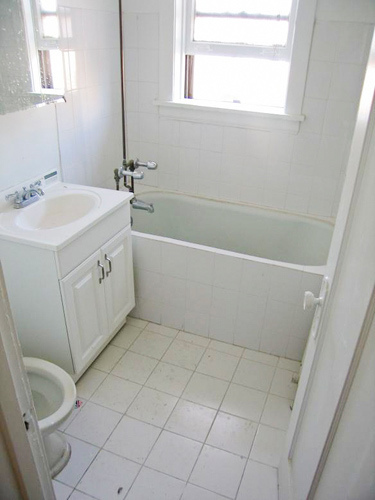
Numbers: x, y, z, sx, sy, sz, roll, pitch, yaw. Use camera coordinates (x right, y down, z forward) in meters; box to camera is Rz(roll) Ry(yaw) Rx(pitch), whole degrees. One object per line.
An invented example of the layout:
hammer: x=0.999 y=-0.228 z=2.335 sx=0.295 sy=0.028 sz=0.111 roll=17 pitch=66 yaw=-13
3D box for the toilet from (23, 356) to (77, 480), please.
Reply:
toilet: x=-0.583 y=0.702 z=1.651 sx=0.213 sy=0.410 sz=0.461 roll=-11 pitch=31 yaw=-28

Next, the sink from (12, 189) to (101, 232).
sink: x=-0.691 y=-0.199 z=1.946 sx=0.464 sy=0.131 sz=0.291 roll=-17 pitch=36 yaw=-32

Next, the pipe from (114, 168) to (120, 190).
pipe: x=-0.474 y=-0.484 z=2.468 sx=0.034 sy=0.162 sz=0.150 roll=-2 pitch=27 yaw=-11
